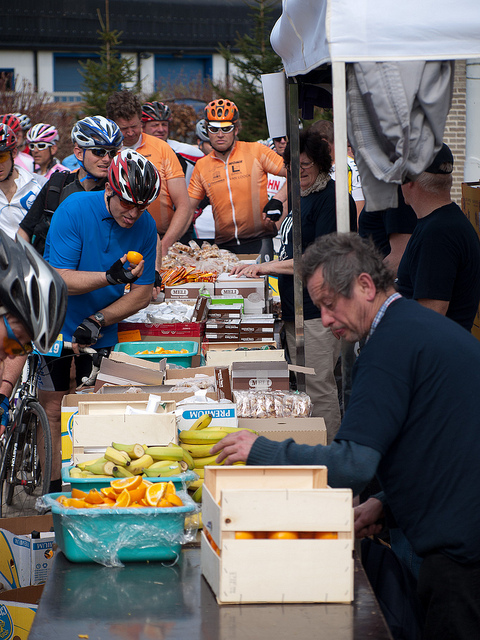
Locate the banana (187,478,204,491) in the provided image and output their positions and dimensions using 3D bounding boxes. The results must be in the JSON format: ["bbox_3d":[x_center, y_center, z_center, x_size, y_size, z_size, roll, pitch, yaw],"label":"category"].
[{"bbox_3d":[-0.175,0.636,2.429,0.026,0.062,0.062,29,-13,-13],"label":"banana"}]

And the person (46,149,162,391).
[{"bbox_3d":[-0.921,-0.252,4.144,0.815,1.659,0.774,-7,16,-17],"label":"person"}]

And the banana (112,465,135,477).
[{"bbox_3d":[-0.413,0.530,2.197,0.071,0.042,0.038,0,15,7],"label":"banana"}]

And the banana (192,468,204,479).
[{"bbox_3d":[-0.166,0.601,2.466,0.041,0.038,0.065,-2,15,-2],"label":"banana"}]

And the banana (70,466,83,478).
[{"bbox_3d":[-0.586,0.538,2.221,0.028,0.017,0.037,1,14,-3],"label":"banana"}]

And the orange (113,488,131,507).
[{"bbox_3d":[-0.370,0.561,1.955,0.052,0.030,0.114,-3,14,-4],"label":"orange"}]

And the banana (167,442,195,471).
[{"bbox_3d":[-0.245,0.534,2.408,0.033,0.098,0.100,-30,-23,-4],"label":"banana"}]

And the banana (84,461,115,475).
[{"bbox_3d":[-0.498,0.523,2.214,0.096,0.041,0.040,1,7,13],"label":"banana"}]

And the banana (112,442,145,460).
[{"bbox_3d":[-0.407,0.477,2.313,0.116,0.046,0.052,19,-7,0],"label":"banana"}]

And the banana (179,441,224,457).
[{"bbox_3d":[-0.159,0.519,2.510,0.144,0.047,0.118,-8,-14,-18],"label":"banana"}]

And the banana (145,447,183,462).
[{"bbox_3d":[-0.278,0.493,2.330,0.111,0.034,0.056,2,4,-6],"label":"banana"}]

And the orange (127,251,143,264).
[{"bbox_3d":[-0.660,-0.381,3.880,0.081,0.077,0.157,-11,17,-30],"label":"orange"}]

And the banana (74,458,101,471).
[{"bbox_3d":[-0.582,0.534,2.314,0.123,0.039,0.032,-12,38,10],"label":"banana"}]

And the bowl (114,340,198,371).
[{"bbox_3d":[-0.564,0.214,4.263,0.379,0.115,0.255,2,6,-1],"label":"bowl"}]

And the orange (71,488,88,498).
[{"bbox_3d":[-0.540,0.573,2.101,0.045,0.041,0.040,1,-13,3],"label":"orange"}]

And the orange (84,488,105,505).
[{"bbox_3d":[-0.462,0.555,1.979,0.040,0.044,0.050,6,-6,-37],"label":"orange"}]

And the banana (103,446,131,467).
[{"bbox_3d":[-0.438,0.486,2.221,0.093,0.043,0.037,27,3,17],"label":"banana"}]

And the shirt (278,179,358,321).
[{"bbox_3d":[0.628,-0.703,5.494,0.630,1.063,1.076,-2,18,-3],"label":"shirt"}]

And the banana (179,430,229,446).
[{"bbox_3d":[-0.160,0.473,2.531,0.141,0.045,0.111,-9,-5,28],"label":"banana"}]
